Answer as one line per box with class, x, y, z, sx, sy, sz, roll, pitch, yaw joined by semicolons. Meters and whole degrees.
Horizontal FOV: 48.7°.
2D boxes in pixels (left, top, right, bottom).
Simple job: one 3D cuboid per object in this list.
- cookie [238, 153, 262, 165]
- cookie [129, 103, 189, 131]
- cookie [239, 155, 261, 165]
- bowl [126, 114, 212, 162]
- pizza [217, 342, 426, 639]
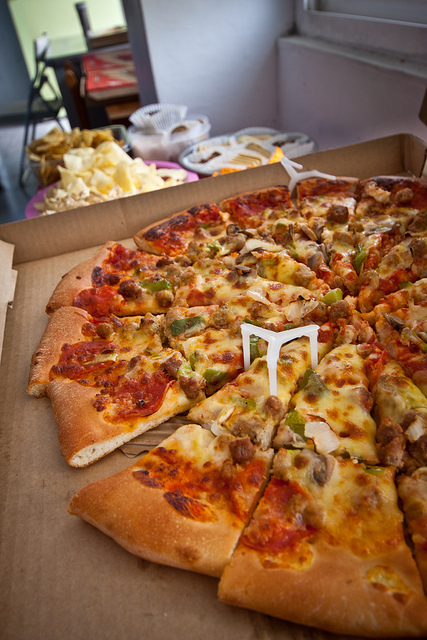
cookie;0.307;-1.306;3.771;0.145;0.043;0.141;-18;43;-20
cookie;-0.482;-1.806;4.214;0.422;0.166;0.374;-31;43;-23
cookie;0.293;-1.266;3.733;0.260;0.037;0.035;22;65;28
bowl;-0.427;-1.638;4.320;0.562;0.406;0.609;-12;24;6
pizza;0.272;0.427;1.084;0.372;0.112;0.832;3;34;26
